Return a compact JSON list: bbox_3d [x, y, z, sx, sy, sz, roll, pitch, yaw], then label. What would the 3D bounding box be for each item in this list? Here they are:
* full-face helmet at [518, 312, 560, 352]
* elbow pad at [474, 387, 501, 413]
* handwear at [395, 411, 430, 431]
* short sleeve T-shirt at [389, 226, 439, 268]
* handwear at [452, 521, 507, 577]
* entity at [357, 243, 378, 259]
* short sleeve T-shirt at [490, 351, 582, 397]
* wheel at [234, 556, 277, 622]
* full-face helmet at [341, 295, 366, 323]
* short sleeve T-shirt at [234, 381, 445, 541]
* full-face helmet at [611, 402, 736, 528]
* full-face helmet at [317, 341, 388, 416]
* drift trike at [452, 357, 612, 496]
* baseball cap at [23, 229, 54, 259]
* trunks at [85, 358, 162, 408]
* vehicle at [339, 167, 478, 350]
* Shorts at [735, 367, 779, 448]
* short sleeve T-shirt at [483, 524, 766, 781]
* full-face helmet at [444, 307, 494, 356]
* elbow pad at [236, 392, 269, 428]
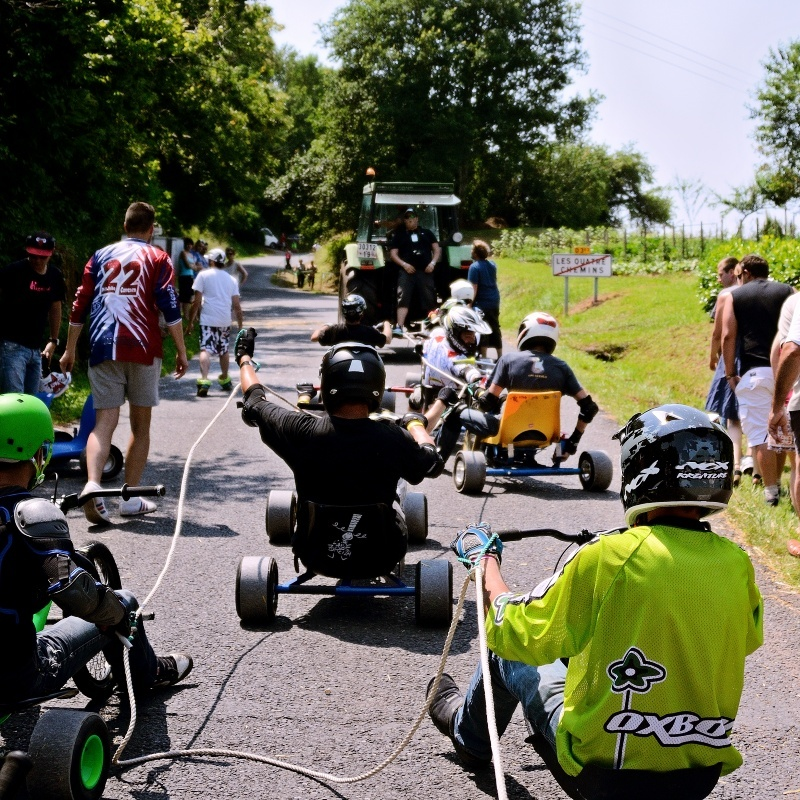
[{"bbox_3d":[1.015,-0.498,8.413,0.236,0.264,0.326,5,-2,-2],"label":"full-face helmet"},{"bbox_3d":[0.657,0.014,8.404,0.146,0.185,0.166,-2,-6,1],"label":"elbow pad"},{"bbox_3d":[0.046,0.103,5.391,0.071,0.057,0.166,8,0,-35],"label":"handwear"},{"bbox_3d":[0.189,-2.173,16.364,0.656,0.629,0.377,0,-30,-14],"label":"short sleeve T-shirt"},{"bbox_3d":[0.261,0.503,3.816,0.114,0.079,0.190,-4,15,3],"label":"handwear"},{"bbox_3d":[-0.461,-2.149,16.502,0.346,0.234,0.189,1,-4,-3],"label":"entity"},{"bbox_3d":[1.015,-0.174,8.582,0.538,0.242,0.264,7,19,-5],"label":"short sleeve T-shirt"},{"bbox_3d":[-0.694,0.925,5.505,0.167,0.324,0.323,2,-1,1],"label":"wheel"},{"bbox_3d":[-0.358,-0.716,8.866,0.227,0.268,0.285,2,16,1],"label":"full-face helmet"},{"bbox_3d":[-0.330,0.369,6.110,0.944,0.606,1.405,-1,3,-1],"label":"short sleeve T-shirt"},{"bbox_3d":[0.768,0.177,3.215,0.257,0.288,0.361,1,-13,1],"label":"full-face helmet"},{"bbox_3d":[-0.217,-0.102,5.231,0.263,0.265,0.329,1,-8,-2],"label":"full-face helmet"},{"bbox_3d":[0.906,0.194,8.485,0.852,0.730,1.219,0,10,-8],"label":"drift trike"},{"bbox_3d":[-2.686,-1.152,8.483,0.156,0.127,0.210,10,23,-25],"label":"baseball cap"},{"bbox_3d":[-1.802,-0.097,7.451,0.506,0.473,0.293,0,9,-12],"label":"trunks"},{"bbox_3d":[-0.029,-2.327,17.762,1.880,2.411,2.966,1,13,-7],"label":"vehicle"},{"bbox_3d":[2.458,0.038,7.811,0.277,0.499,0.377,11,-25,-3],"label":"Shorts"},{"bbox_3d":[0.624,0.629,3.421,0.826,0.822,0.659,4,4,-11],"label":"short sleeve T-shirt"},{"bbox_3d":[0.522,-0.542,9.184,0.409,0.325,0.337,26,23,36],"label":"full-face helmet"},{"bbox_3d":[-0.705,0.050,5.329,0.151,0.163,0.120,-7,14,9],"label":"elbow pad"}]
